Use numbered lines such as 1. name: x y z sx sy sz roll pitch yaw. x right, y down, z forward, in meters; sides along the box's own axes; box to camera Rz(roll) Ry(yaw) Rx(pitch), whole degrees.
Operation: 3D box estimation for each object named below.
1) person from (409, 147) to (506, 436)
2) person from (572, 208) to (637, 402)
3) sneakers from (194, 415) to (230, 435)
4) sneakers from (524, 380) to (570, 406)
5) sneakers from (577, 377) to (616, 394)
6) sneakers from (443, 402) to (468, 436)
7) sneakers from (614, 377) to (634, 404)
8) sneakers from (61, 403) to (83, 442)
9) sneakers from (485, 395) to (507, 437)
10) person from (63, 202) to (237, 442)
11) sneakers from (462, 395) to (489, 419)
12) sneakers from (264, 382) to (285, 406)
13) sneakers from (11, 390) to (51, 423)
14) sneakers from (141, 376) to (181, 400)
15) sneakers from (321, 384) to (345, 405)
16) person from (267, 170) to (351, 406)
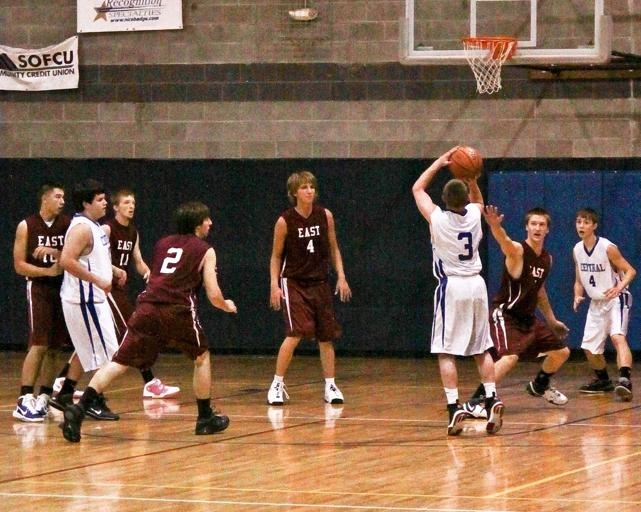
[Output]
1. person: 1.031 0.259 6.628 0.581 2.200 0.615 -3 3 7
2. person: 2.795 0.462 8.614 0.580 1.887 1.567 -2 3 16
3. sneakers: -0.827 1.295 6.687 0.265 0.167 0.119 -8 12 -12
4. sneakers: 2.012 1.260 7.886 0.420 0.210 0.160 20 7 8
5. sneakers: 2.716 1.292 8.619 0.336 0.175 0.137 1 -2 4
6. sneakers: 0.966 1.233 6.477 0.096 0.212 0.305 -1 -39 -10
7. sneakers: 2.753 1.196 7.928 0.107 0.331 0.165 4 47 30
8. sneakers: -1.794 1.210 6.340 0.112 0.333 0.138 1 5 7
9. sneakers: 1.274 1.190 6.447 0.097 0.305 0.139 -7 46 -8
10. person: -1.183 0.512 6.407 1.102 1.785 0.518 -4 3 -8
11. sneakers: 1.259 1.251 7.100 0.137 0.202 0.407 2 0 -2
12. sneakers: -0.404 1.273 8.129 0.193 0.212 0.479 -4 3 -3
13. sneakers: -2.412 1.271 7.274 0.292 0.165 0.227 -5 3 -16
14. sneakers: -1.524 1.293 8.418 0.381 0.254 0.165 1 -1 -9
15. sneakers: 0.122 1.274 8.031 0.172 0.176 0.265 -4 3 -1
16. person: -0.134 0.292 8.105 0.770 2.151 0.504 -3 3 1
